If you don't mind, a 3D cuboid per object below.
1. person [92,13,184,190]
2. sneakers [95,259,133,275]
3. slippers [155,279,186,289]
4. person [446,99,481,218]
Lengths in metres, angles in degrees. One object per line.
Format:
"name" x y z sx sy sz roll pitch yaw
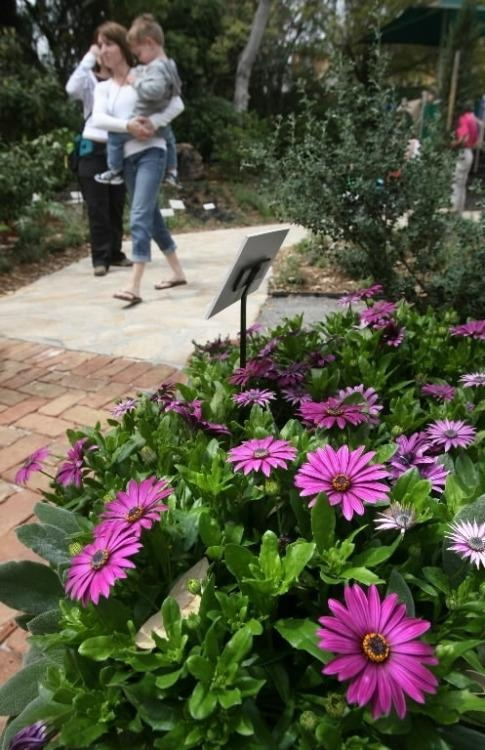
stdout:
"person" -0.957 -2.585 4.739 0.717 1.477 1.251 -2 14 -7
"sneakers" -1.635 -1.364 6.284 0.162 0.149 0.577 15 28 23
"slippers" -0.766 -0.980 5.353 0.322 0.083 0.128 -14 18 -30
"person" 2.294 -2.302 5.194 0.246 1.137 1.428 6 15 22
